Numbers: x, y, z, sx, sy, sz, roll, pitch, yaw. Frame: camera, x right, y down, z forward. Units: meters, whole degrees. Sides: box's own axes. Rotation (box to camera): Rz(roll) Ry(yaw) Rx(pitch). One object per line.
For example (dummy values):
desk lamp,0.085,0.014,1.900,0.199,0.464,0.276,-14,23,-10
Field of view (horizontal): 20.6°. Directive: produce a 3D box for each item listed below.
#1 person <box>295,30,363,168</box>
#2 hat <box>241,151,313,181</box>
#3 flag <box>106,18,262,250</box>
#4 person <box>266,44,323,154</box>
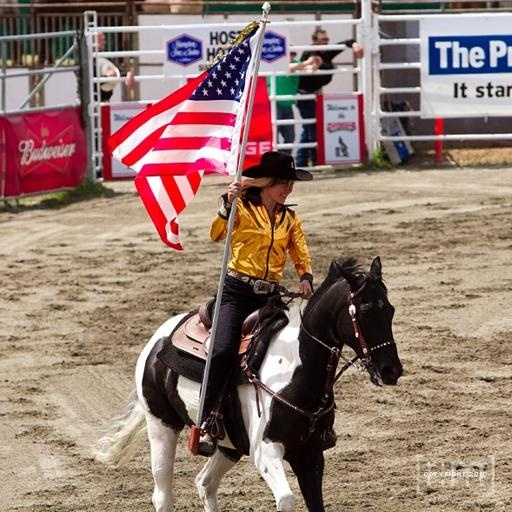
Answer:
person,1.060,-2.379,21.852,1.024,2.339,1.016,3,0,1
hat,0.159,-0.790,12.746,0.401,0.175,0.334,2,0,14
flag,-0.553,-1.213,12.867,0.957,2.324,0.309,18,27,0
person,0.508,-2.447,21.868,0.738,1.429,0.693,-7,9,-34
